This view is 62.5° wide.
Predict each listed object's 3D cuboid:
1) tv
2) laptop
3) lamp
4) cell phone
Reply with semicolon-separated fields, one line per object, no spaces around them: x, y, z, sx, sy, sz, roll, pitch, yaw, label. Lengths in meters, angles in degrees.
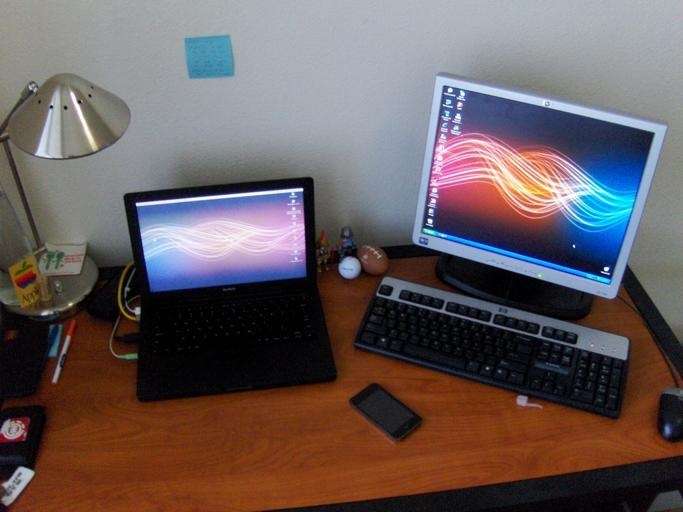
0.435;-0.140;1.268;0.450;0.425;0.244;15;47;11;tv
-0.258;0.087;1.337;0.523;0.322;0.470;-5;60;-6;laptop
-0.625;-0.133;1.255;0.316;0.473;0.218;8;56;-8;lamp
0.092;0.319;1.150;0.076;0.017;0.125;-29;46;-31;cell phone
